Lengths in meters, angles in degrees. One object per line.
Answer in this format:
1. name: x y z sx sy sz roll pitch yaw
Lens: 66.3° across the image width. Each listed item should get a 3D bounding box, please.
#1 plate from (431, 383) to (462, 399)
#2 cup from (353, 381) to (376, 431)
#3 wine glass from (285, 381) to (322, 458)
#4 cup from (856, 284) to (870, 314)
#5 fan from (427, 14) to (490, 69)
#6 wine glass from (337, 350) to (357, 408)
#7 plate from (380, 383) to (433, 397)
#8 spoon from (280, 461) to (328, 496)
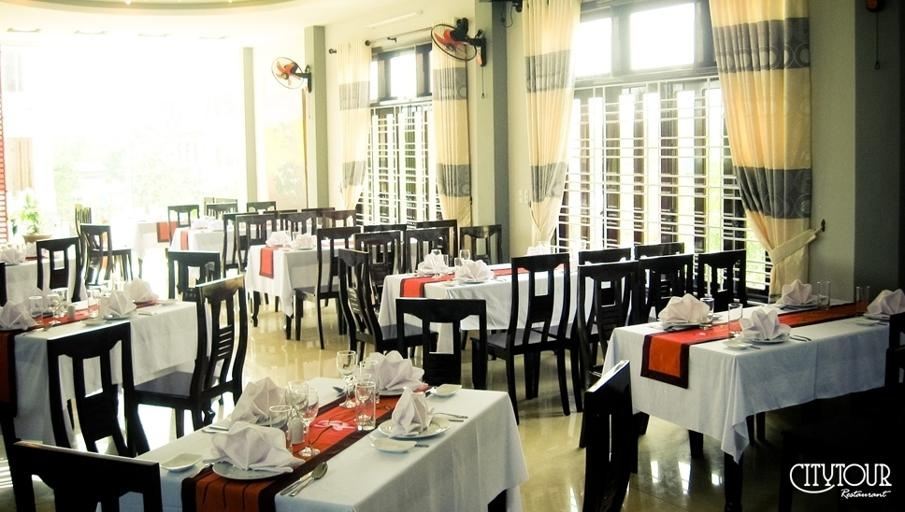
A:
1. plate: -0.051 0.988 5.068 0.227 0.073 0.113 -3 4 0
2. cup: -0.600 1.009 4.780 0.150 0.340 0.180 -4 4 -7
3. wine glass: -1.001 1.083 4.640 0.207 0.444 0.331 -4 5 -14
4. cup: 3.672 0.386 6.211 0.103 0.232 0.217 -1 5 30
5. fan: 0.103 -3.098 10.172 0.826 0.744 0.390 -3 4 5
6. wine glass: -0.771 0.884 4.979 0.111 0.403 0.182 -6 5 -34
7. plate: -0.347 0.978 5.072 0.341 0.088 0.212 -1 5 23
8. spoon: -0.926 1.403 4.329 0.100 0.056 0.379 14 22 22
